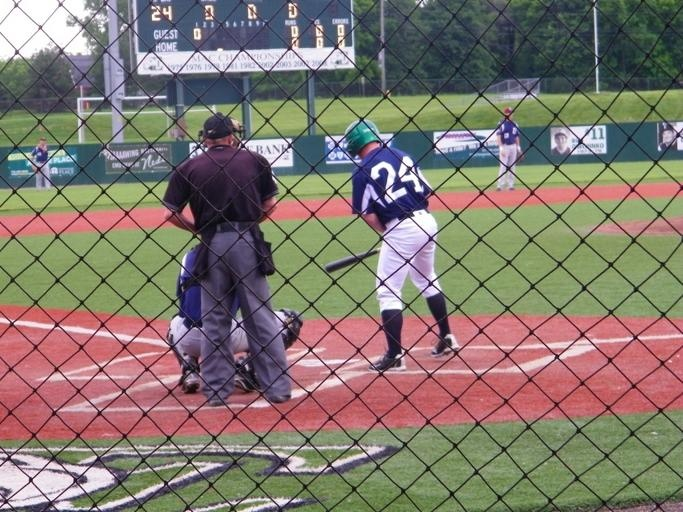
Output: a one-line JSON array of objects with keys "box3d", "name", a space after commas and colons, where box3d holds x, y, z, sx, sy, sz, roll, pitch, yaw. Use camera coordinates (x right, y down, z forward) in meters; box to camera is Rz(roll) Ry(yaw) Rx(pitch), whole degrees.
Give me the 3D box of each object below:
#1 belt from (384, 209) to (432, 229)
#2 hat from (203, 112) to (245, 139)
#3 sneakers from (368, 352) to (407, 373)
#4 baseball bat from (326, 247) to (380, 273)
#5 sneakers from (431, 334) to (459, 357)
[{"box3d": [0.878, -0.472, 18.767, 0.390, 0.102, 0.366, -17, 5, 5], "name": "belt"}, {"box3d": [-1.582, -1.686, 18.279, 0.314, 0.208, 0.430, 7, 20, 17], "name": "hat"}, {"box3d": [0.641, 1.444, 18.592, 0.588, 0.197, 0.231, 1, -1, -13], "name": "sneakers"}, {"box3d": [0.164, 0.084, 21.139, 0.979, 0.132, 0.139, -15, 43, 12], "name": "baseball bat"}, {"box3d": [1.407, 1.222, 18.944, 0.210, 0.193, 0.455, -6, -10, -32], "name": "sneakers"}]
